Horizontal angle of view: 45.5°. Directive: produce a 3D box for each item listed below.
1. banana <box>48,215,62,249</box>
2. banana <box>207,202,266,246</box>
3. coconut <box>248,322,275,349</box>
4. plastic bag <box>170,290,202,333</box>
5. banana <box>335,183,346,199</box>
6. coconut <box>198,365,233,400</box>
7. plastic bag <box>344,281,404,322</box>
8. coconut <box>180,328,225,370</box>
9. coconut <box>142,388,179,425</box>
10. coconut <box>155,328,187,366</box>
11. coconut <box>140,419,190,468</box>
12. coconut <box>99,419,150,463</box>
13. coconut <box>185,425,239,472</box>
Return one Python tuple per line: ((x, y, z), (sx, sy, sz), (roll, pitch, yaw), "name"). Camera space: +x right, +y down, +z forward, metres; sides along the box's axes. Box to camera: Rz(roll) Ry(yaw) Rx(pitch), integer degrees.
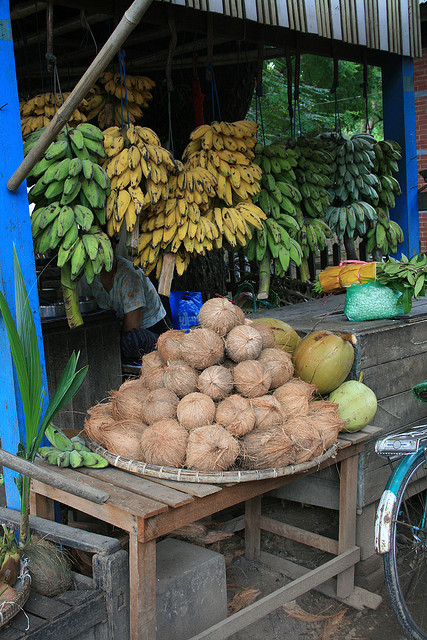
((-0.568, -0.307, 1.825), (0.041, 0.141, 0.046), (0, -22, 5), "banana")
((0.130, -0.498, 2.493), (0.234, 0.086, 0.238), (17, 42, 44), "banana")
((0.192, 0.061, 2.049), (0.098, 0.119, 0.094), (0, 8, 12), "coconut")
((-0.186, -0.058, 3.294), (0.220, 0.292, 0.225), (8, 15, 32), "plastic bag")
((0.932, -0.953, 3.741), (0.050, 0.084, 0.022), (10, -4, 43), "banana")
((0.008, 0.210, 1.736), (0.093, 0.111, 0.063), (9, -28, -2), "coconut")
((0.840, -0.101, 2.641), (0.307, 0.196, 0.157), (-3, 10, 6), "plastic bag")
((-0.058, 0.117, 1.805), (0.135, 0.161, 0.136), (-11, -7, -10), "coconut")
((-0.172, 0.283, 1.709), (0.107, 0.133, 0.116), (-7, -3, 9), "coconut")
((-0.162, 0.114, 1.924), (0.102, 0.118, 0.129), (-4, 0, -7), "coconut")
((-0.144, 0.383, 1.555), (0.141, 0.112, 0.224), (-7, 6, -27), "coconut")
((-0.300, 0.394, 1.708), (0.137, 0.070, 0.114), (15, 10, 23), "coconut")
((-0.005, 0.394, 1.532), (0.166, 0.132, 0.074), (-5, 10, -4), "coconut")
